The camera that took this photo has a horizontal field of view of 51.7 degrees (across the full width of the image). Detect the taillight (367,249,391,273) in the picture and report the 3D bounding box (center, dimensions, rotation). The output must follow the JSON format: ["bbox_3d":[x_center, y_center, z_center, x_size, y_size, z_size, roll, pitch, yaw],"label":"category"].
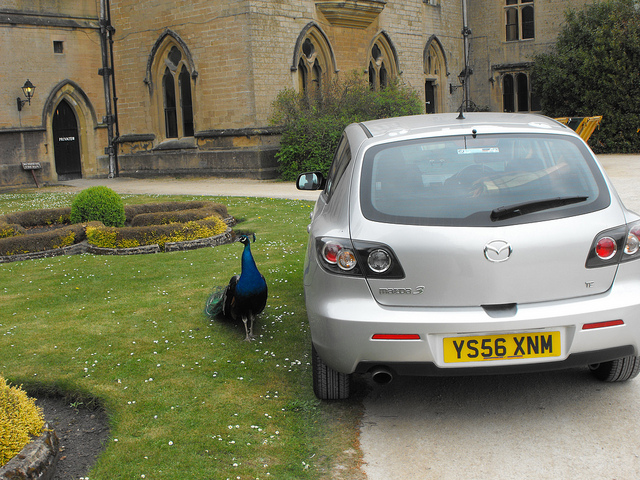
[{"bbox_3d":[0.405,0.143,4.485,0.135,0.157,0.148,1,2,-2],"label":"taillight"}]

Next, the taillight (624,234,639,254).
[{"bbox_3d":[2.156,0.033,4.551,0.115,0.128,0.041,1,1,13],"label":"taillight"}]

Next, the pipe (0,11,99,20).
[{"bbox_3d":[-9.645,-8.029,23.656,0.073,0.097,3.539,6,14,41],"label":"pipe"}]

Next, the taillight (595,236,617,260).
[{"bbox_3d":[1.959,0.057,4.507,0.162,0.150,0.033,-7,11,-19],"label":"taillight"}]

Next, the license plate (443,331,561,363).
[{"bbox_3d":[1.225,0.717,4.417,0.782,0.168,0.030,-4,10,0],"label":"license plate"}]

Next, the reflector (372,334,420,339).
[{"bbox_3d":[0.511,0.646,4.425,0.193,0.036,0.024,0,1,3],"label":"reflector"}]

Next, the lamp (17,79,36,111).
[{"bbox_3d":[-10.211,-4.999,22.945,0.610,0.987,0.507,-7,11,-19],"label":"lamp"}]

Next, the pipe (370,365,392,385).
[{"bbox_3d":[0.423,0.916,4.523,0.149,0.140,0.044,-2,10,10],"label":"pipe"}]

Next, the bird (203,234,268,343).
[{"bbox_3d":[-0.823,0.438,6.450,0.434,0.967,0.996,-8,11,-23],"label":"bird"}]

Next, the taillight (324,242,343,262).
[{"bbox_3d":[0.084,0.084,4.564,0.110,0.119,0.027,-18,-12,33],"label":"taillight"}]
